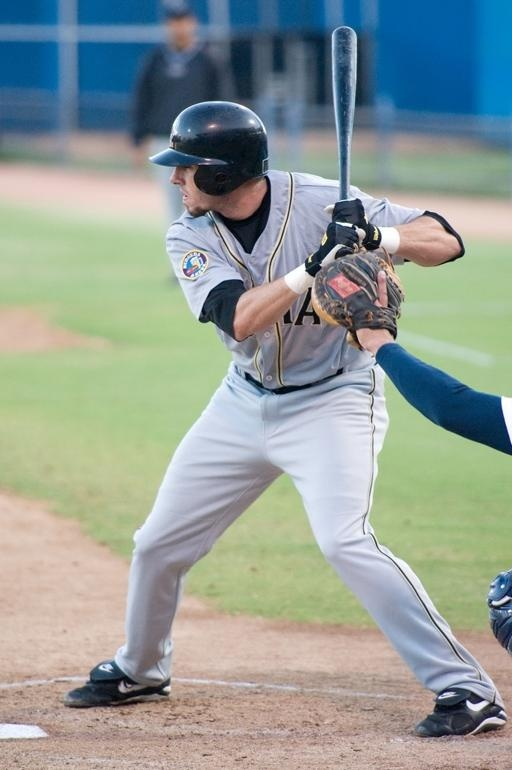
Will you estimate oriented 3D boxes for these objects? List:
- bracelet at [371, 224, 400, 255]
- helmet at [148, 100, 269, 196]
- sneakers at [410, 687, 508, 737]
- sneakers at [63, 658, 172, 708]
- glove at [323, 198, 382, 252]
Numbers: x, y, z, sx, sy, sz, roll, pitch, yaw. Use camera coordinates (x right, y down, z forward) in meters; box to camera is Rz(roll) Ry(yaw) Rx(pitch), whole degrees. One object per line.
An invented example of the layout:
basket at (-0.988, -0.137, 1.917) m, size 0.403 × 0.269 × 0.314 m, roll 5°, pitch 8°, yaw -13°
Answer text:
bracelet at (0.361, -0.390, 2.596) m, size 0.076 × 0.058 × 0.075 m, roll -31°, pitch -31°, yaw 31°
helmet at (-0.120, -0.681, 2.731) m, size 0.378 × 0.237 × 0.271 m, roll -9°, pitch 27°, yaw -18°
sneakers at (0.512, 0.815, 2.442) m, size 0.219 × 0.076 × 0.108 m, roll 1°, pitch -8°, yaw -19°
sneakers at (-0.370, 0.866, 2.839) m, size 0.384 × 0.135 × 0.139 m, roll -9°, pitch -12°, yaw 24°
glove at (0.265, -0.421, 2.531) m, size 0.145 × 0.070 × 0.106 m, roll 40°, pitch -14°, yaw 18°
